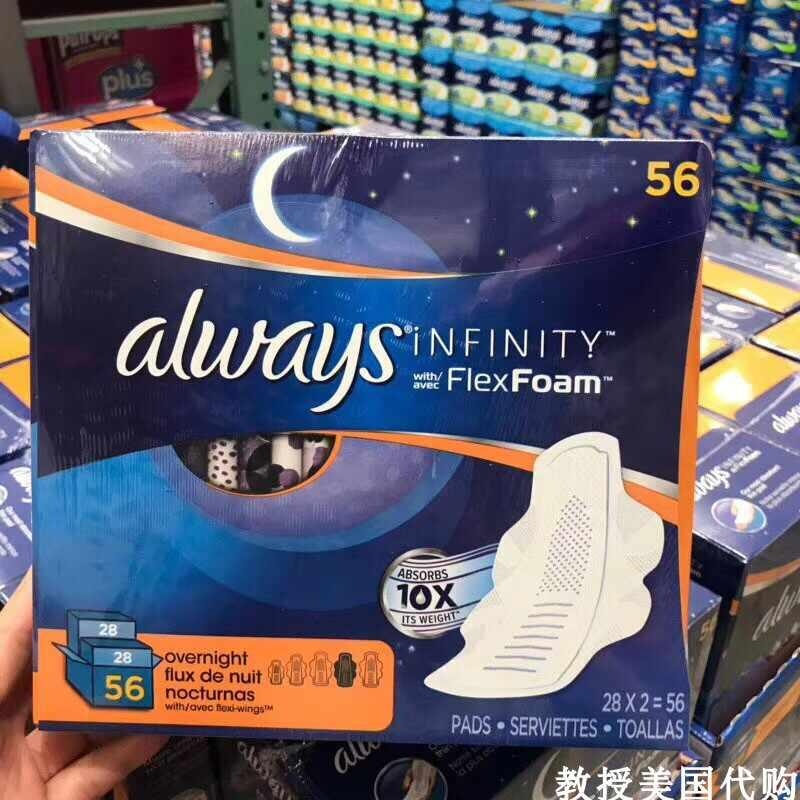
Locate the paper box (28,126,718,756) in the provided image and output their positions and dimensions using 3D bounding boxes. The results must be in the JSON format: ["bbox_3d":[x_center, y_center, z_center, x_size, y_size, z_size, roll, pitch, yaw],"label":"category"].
[{"bbox_3d":[-0.036,0.033,0.894,0.476,0.480,0.167,-13,6,0],"label":"paper box"}]
